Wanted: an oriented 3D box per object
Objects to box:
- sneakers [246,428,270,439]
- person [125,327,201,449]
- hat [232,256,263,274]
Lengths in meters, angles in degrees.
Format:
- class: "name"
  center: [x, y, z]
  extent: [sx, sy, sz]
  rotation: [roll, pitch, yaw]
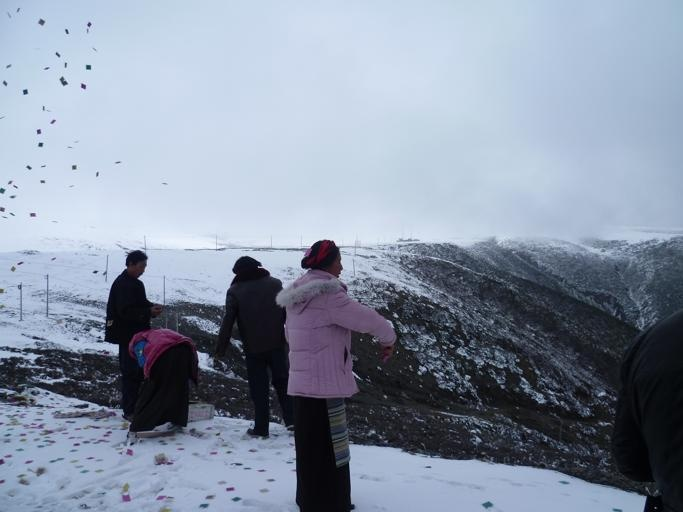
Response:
- class: "sneakers"
  center: [-1.370, 2.852, 8.612]
  extent: [0.281, 0.129, 0.156]
  rotation: [11, -6, 10]
- class: "person"
  center: [-3.008, 1.977, 8.857]
  extent: [1.317, 1.835, 0.986]
  rotation: [-28, -36, 18]
- class: "hat"
  center: [-1.585, 0.115, 8.944]
  extent: [0.325, 0.159, 0.350]
  rotation: [0, 16, 17]
